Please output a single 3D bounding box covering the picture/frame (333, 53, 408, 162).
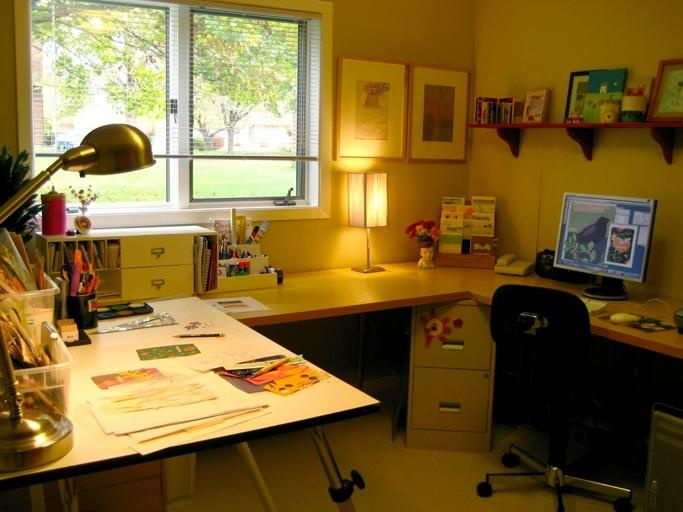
[{"bbox_3d":[0.171,-0.997,3.554,0.696,0.815,0.032,-6,15,-27],"label":"picture/frame"}]

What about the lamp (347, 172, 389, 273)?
[{"bbox_3d":[0.158,-0.225,3.531,0.249,0.630,0.274,1,10,-5],"label":"lamp"}]

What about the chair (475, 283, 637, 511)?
[{"bbox_3d":[1.078,0.647,2.839,0.720,1.088,0.805,2,10,3],"label":"chair"}]

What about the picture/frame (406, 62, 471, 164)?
[{"bbox_3d":[0.658,-1.018,3.787,0.684,0.794,0.036,-6,14,-29],"label":"picture/frame"}]

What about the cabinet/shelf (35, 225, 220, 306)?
[{"bbox_3d":[-1.093,0.024,2.880,0.826,0.385,0.277,-4,24,-24],"label":"cabinet/shelf"}]

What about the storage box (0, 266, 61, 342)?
[{"bbox_3d":[-0.905,0.137,1.586,0.124,0.174,0.158,-4,7,-35],"label":"storage box"}]

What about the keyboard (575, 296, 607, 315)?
[{"bbox_3d":[1.289,0.245,2.759,0.134,0.034,0.164,-1,13,14],"label":"keyboard"}]

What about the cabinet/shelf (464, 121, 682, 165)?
[{"bbox_3d":[1.401,-0.678,3.217,0.309,0.231,1.195,-6,13,-36],"label":"cabinet/shelf"}]

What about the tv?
[{"bbox_3d":[1.457,-0.054,2.959,0.259,0.578,0.552,-2,6,-35],"label":"tv"}]

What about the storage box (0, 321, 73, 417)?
[{"bbox_3d":[-0.779,0.288,1.401,0.142,0.099,0.216,-7,16,-31],"label":"storage box"}]

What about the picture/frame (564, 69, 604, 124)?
[{"bbox_3d":[1.425,-0.960,3.234,0.141,0.318,0.228,6,11,20],"label":"picture/frame"}]

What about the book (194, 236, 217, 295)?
[{"bbox_3d":[-0.738,0.056,2.923,0.103,0.288,0.282,-1,6,-23],"label":"book"}]

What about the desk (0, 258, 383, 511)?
[{"bbox_3d":[-0.537,0.403,1.733,0.809,0.416,0.798,-6,9,-36],"label":"desk"}]

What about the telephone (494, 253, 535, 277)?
[{"bbox_3d":[1.100,0.063,3.468,0.159,0.082,0.210,5,14,33],"label":"telephone"}]
